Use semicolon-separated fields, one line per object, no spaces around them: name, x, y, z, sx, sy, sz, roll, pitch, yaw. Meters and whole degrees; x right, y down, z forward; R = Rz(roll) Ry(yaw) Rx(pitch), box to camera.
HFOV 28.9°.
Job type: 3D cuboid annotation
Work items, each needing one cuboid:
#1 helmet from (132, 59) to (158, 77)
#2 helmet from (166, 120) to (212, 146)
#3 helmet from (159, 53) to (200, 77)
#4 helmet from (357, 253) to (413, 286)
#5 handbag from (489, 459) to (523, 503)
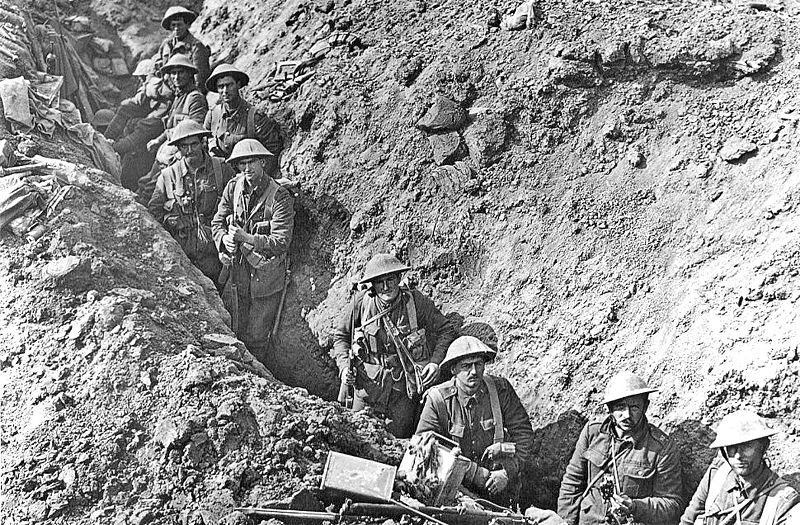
helmet;-5.072;-3.813;30.972;0.375;0.282;0.491;-25;29;-26
helmet;-3.626;-2.270;26.756;0.508;0.262;0.546;-20;7;25
helmet;-4.081;-3.678;28.931;0.467;0.235;0.496;-5;-7;-17
helmet;-0.340;0.090;25.181;0.544;0.264;0.544;-18;-5;-45
handbag;1.701;3.402;24.360;0.566;0.702;0.718;-11;-14;34
